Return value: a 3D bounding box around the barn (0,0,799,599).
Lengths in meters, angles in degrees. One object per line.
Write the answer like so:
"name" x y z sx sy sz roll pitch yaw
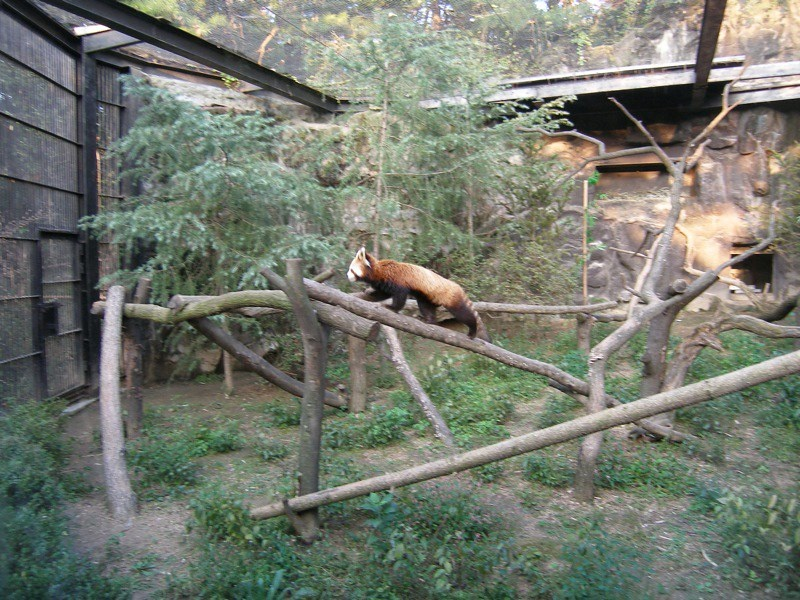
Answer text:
"barn" -0.389 -0.308 10.165 10.581 4.476 8.620 11 19 -15
